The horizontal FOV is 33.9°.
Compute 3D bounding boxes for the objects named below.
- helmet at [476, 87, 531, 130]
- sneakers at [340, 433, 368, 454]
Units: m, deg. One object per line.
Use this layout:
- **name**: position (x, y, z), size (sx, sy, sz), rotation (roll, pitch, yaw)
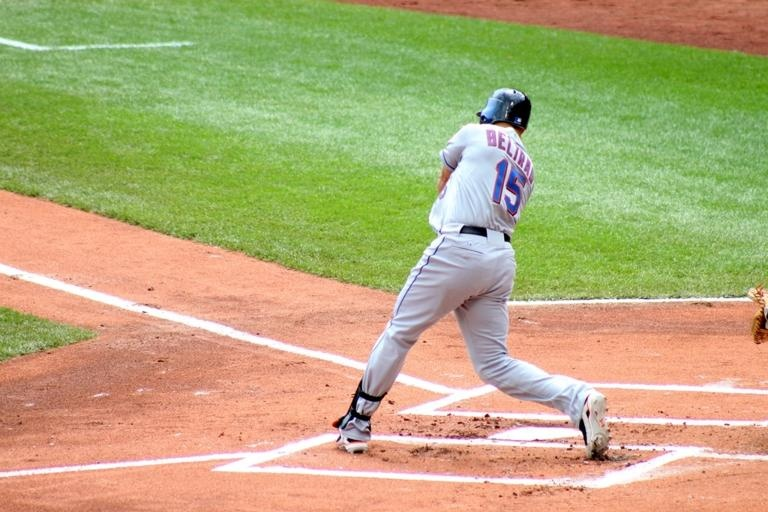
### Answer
- **helmet**: position (1.442, -1.729, 14.736), size (0.725, 0.393, 0.437), rotation (5, 1, 1)
- **sneakers**: position (-0.353, 2.170, 14.540), size (0.203, 0.146, 0.331), rotation (0, 12, -17)
